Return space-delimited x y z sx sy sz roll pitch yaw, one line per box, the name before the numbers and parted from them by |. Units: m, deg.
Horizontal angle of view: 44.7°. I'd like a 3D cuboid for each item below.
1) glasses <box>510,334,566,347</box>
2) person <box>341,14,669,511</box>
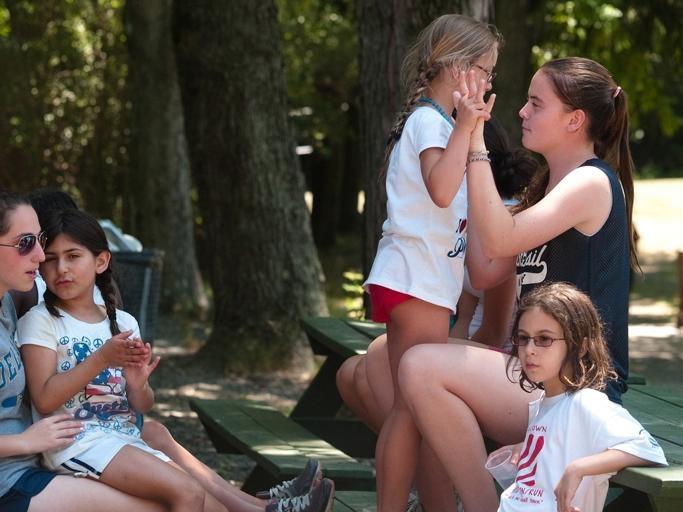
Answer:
glasses | 0.732 0.318 3.120 0.195 0.044 0.052 2 0 26
person | 0.637 0.136 3.523 1.112 1.738 0.714 2 1 20
